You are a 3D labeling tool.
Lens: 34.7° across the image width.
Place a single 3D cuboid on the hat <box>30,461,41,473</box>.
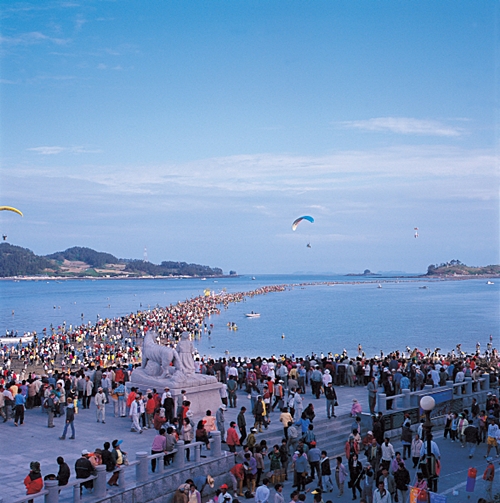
[{"bbox_3d":[-5.294,5.217,19.333,0.216,0.239,0.595,1,-6,-18],"label":"hat"}]
